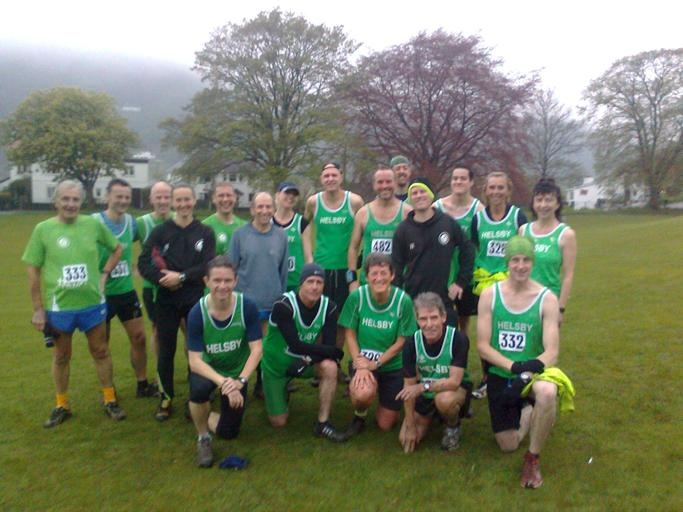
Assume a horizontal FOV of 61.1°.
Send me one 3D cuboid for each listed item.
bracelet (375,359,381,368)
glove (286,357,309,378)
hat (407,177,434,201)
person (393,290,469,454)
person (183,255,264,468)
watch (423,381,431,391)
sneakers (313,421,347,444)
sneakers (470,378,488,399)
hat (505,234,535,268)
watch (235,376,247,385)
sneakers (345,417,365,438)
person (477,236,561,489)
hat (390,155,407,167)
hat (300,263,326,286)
[{"bbox_3d":[0.485,1.437,7.655,0.068,0.093,0.082,-1,6,-3],"label":"bracelet"},{"bbox_3d":[-0.580,1.510,7.696,0.330,0.312,0.230,1,7,11],"label":"glove"},{"bbox_3d":[1.131,-0.960,8.227,0.252,0.283,0.346,0,-16,12],"label":"hat"},{"bbox_3d":[1.162,1.453,7.302,0.922,1.960,0.486,0,7,6],"label":"person"},{"bbox_3d":[-1.475,1.470,7.345,0.924,2.028,0.703,-4,8,-24],"label":"person"},{"bbox_3d":[1.057,1.631,7.204,0.069,0.112,0.109,9,9,27],"label":"watch"},{"bbox_3d":[-0.167,2.290,7.501,0.440,0.216,0.182,2,4,22],"label":"sneakers"},{"bbox_3d":[2.044,1.999,8.606,0.152,0.221,0.466,0,-5,31],"label":"sneakers"},{"bbox_3d":[2.205,-0.088,7.139,0.263,0.315,0.354,5,2,8],"label":"hat"},{"bbox_3d":[-1.253,1.556,7.242,0.100,0.072,0.102,36,9,28],"label":"watch"},{"bbox_3d":[0.169,2.268,7.634,0.128,0.259,0.369,2,-3,36],"label":"sneakers"},{"bbox_3d":[2.249,1.192,7.061,0.808,2.795,1.148,-3,8,-21],"label":"person"},{"bbox_3d":[0.966,-1.575,9.675,0.212,0.168,0.220,-3,6,5],"label":"hat"},{"bbox_3d":[-0.379,0.240,7.523,0.255,0.214,0.270,6,4,-17],"label":"hat"}]
